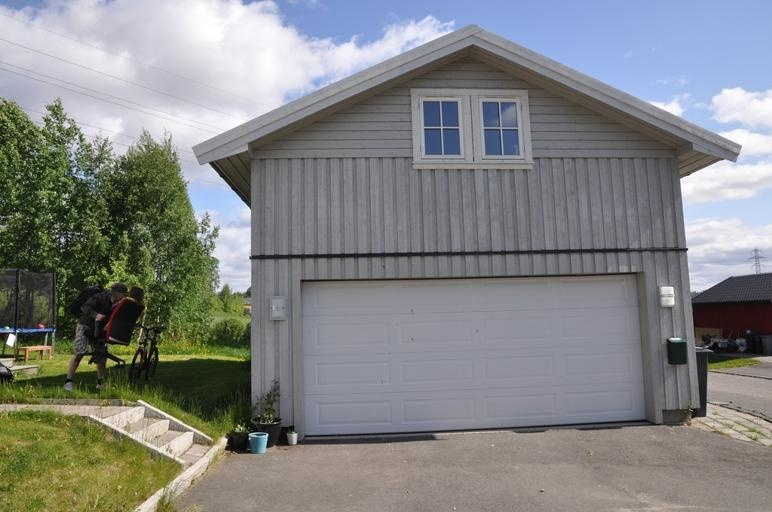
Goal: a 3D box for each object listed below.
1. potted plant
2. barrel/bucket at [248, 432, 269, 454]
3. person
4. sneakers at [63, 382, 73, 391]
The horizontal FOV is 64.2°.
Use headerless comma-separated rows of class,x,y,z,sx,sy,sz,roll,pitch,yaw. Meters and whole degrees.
potted plant,-2.787,3.560,13.767,1.459,1.477,0.790,1,-6,-10
barrel/bucket,-2.780,4.042,13.283,0.402,0.325,0.409,0,-13,0
person,-6.341,1.791,13.825,1.528,2.326,0.628,0,-6,-6
sneakers,-6.945,2.848,13.423,0.112,0.116,0.263,13,-12,-42
